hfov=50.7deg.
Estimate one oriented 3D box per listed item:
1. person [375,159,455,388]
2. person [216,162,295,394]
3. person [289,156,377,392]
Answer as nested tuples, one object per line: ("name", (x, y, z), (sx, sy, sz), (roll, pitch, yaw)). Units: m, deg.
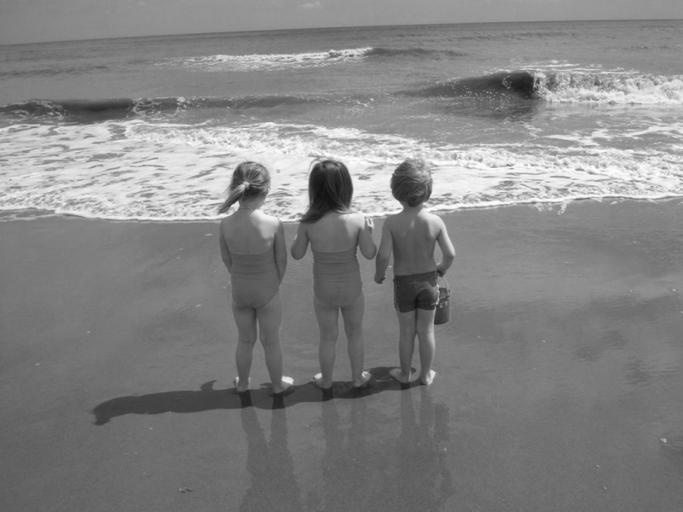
("person", (0.637, 0.139, 6.390), (0.581, 1.944, 0.547), (14, 25, 37))
("person", (-0.740, 0.209, 6.283), (0.553, 1.985, 0.527), (-5, 20, -9))
("person", (-0.065, 0.177, 6.308), (0.708, 1.992, 0.471), (2, 20, 11))
